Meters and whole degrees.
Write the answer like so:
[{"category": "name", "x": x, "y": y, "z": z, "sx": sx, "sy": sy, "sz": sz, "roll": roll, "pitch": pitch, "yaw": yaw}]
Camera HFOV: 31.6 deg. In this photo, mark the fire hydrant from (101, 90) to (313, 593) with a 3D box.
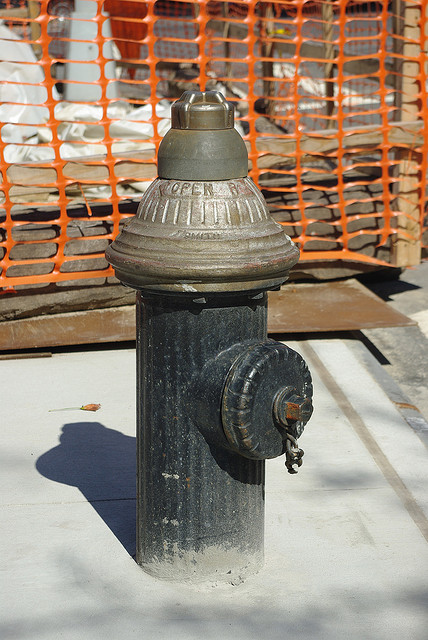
[{"category": "fire hydrant", "x": -0.012, "y": 0.111, "z": 2.259, "sx": 0.604, "sy": 1.526, "sz": 0.417, "roll": -2, "pitch": 20, "yaw": -1}]
